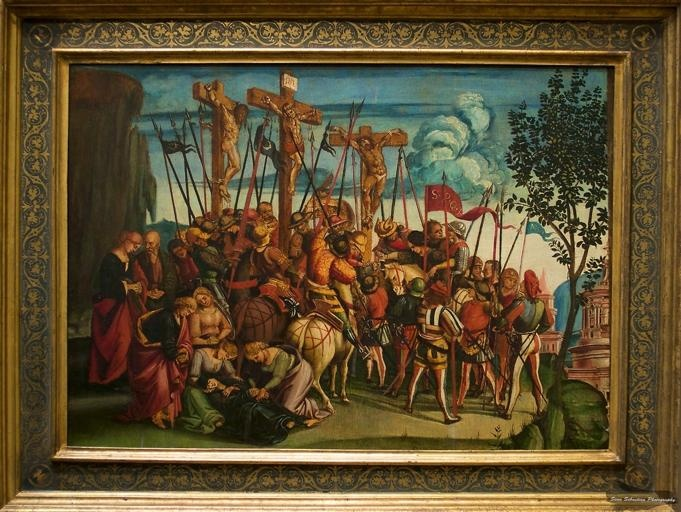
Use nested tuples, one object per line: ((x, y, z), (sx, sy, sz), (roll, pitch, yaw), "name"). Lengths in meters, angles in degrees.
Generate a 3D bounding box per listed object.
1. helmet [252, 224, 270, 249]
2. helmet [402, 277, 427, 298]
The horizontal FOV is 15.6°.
((-0.586, -0.147, 18.626), (0.118, 0.133, 0.172), (2, -35, 3), "helmet")
((0.573, 0.231, 18.601), (0.118, 0.103, 0.164), (7, -5, -9), "helmet")
